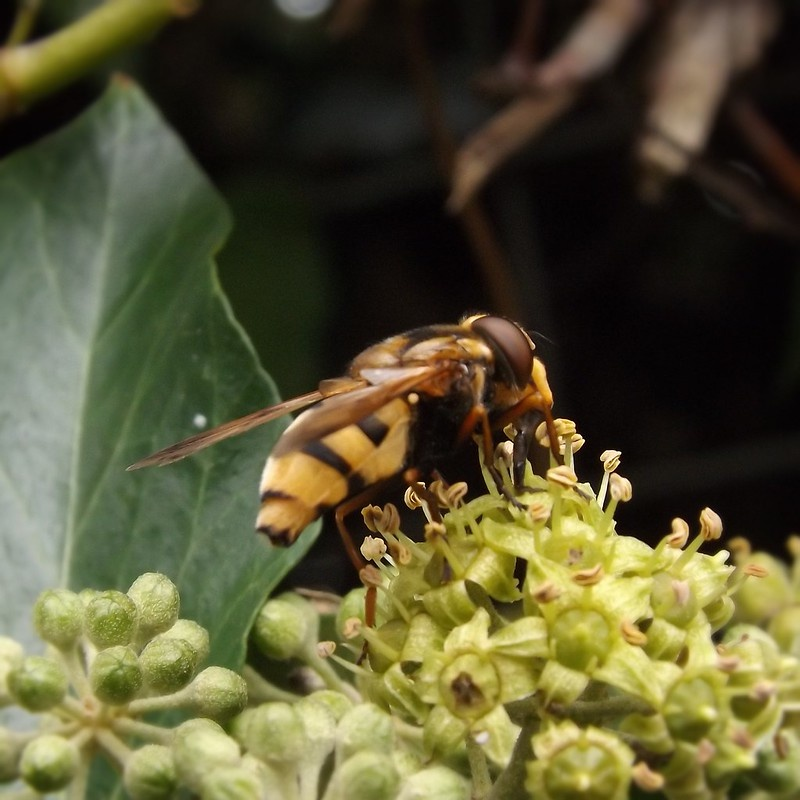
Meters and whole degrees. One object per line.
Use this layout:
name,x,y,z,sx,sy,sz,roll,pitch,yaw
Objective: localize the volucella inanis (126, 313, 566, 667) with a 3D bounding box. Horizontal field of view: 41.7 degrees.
volucella inanis,-0.014,0.049,1.577,0.719,0.238,0.395,-17,8,-26
